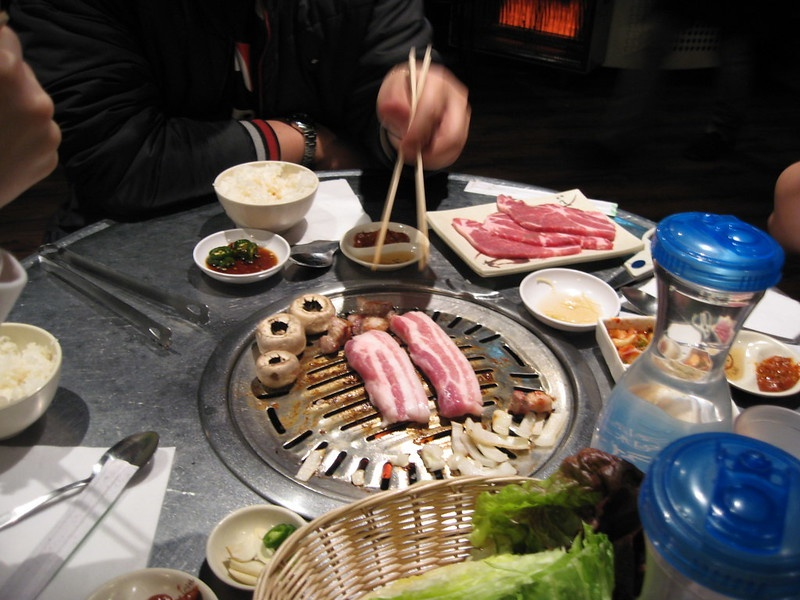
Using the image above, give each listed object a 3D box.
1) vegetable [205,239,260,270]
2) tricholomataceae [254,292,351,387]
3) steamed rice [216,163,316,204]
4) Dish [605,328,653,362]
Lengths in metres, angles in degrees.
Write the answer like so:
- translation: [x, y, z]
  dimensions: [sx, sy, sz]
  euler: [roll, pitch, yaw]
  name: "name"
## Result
- translation: [-0.699, -0.191, 2.311]
  dimensions: [0.134, 0.056, 0.179]
  euler: [36, 44, 30]
  name: "vegetable"
- translation: [-0.354, 0.157, 2.002]
  dimensions: [0.368, 0.216, 0.379]
  euler: [8, 20, 19]
  name: "tricholomataceae"
- translation: [-0.631, -0.547, 2.572]
  dimensions: [0.374, 0.089, 0.316]
  euler: [-13, 39, -25]
  name: "steamed rice"
- translation: [0.833, 0.172, 1.996]
  dimensions: [0.154, 0.033, 0.132]
  euler: [-16, 37, -18]
  name: "Dish"
